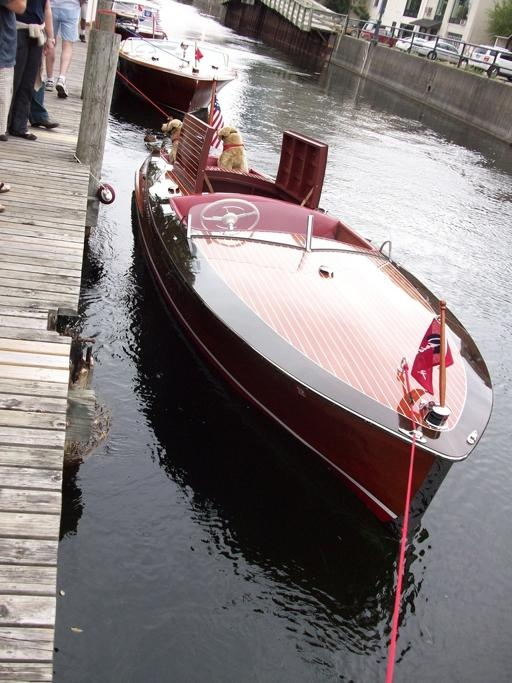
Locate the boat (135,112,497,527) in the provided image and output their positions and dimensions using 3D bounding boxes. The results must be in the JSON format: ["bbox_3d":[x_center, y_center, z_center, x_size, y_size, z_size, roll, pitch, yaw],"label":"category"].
[{"bbox_3d":[0.223,-0.202,4.879,2.051,1.661,4.097,-1,36,-31],"label":"boat"}]

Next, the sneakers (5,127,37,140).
[{"bbox_3d":[-2.307,-2.024,5.756,0.240,0.093,0.085,5,48,-13],"label":"sneakers"}]

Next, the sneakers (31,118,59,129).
[{"bbox_3d":[-2.252,-2.299,6.257,0.294,0.110,0.106,4,41,-1],"label":"sneakers"}]

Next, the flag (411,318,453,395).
[{"bbox_3d":[1.022,0.109,3.439,0.205,0.452,0.181,-7,56,9],"label":"flag"}]

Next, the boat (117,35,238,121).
[{"bbox_3d":[-1.963,-6.193,13.735,2.588,1.704,4.219,13,21,-14],"label":"boat"}]
